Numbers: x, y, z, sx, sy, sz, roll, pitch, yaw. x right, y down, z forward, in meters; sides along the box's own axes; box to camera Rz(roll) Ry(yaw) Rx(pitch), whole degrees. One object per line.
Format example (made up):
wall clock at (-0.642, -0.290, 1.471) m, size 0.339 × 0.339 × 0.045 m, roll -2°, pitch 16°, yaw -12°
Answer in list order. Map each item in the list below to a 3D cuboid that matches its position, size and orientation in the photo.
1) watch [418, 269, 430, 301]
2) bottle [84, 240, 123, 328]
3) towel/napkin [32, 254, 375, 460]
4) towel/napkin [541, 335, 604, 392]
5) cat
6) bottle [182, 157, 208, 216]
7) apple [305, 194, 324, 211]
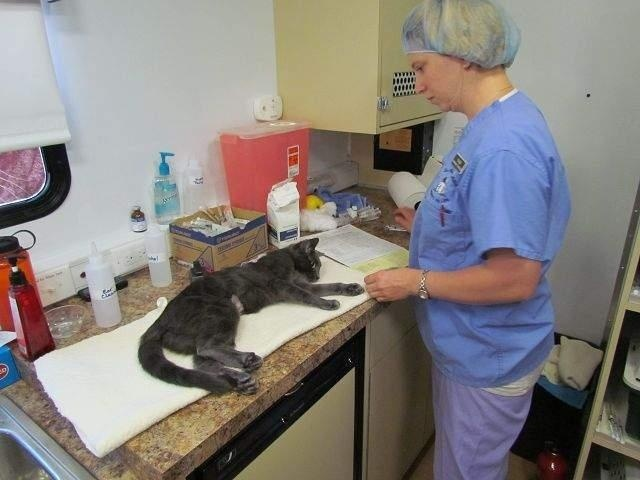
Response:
watch at (0.322, 0.145, 1.459) m, size 0.044 × 0.079 × 0.074 m, roll 0°, pitch 51°, yaw 11°
bottle at (-0.706, 0.143, 1.512) m, size 0.081 × 0.292 × 0.083 m, roll 0°, pitch 23°, yaw 0°
towel/napkin at (-0.370, 0.311, 1.471) m, size 0.872 × 0.138 × 0.452 m, roll -19°, pitch 25°, yaw -38°
towel/napkin at (1.165, 0.562, 2.153) m, size 0.243 × 0.089 × 0.270 m, roll 20°, pitch 66°, yaw 38°
cat at (-0.249, 0.224, 1.462) m, size 0.480 × 0.135 × 0.416 m, roll -13°, pitch 23°, yaw -28°
bottle at (-0.526, -0.227, 1.984) m, size 0.130 × 0.228 × 0.101 m, roll -16°, pitch 23°, yaw -34°
apple at (-0.025, -0.179, 2.357) m, size 0.076 × 0.097 × 0.078 m, roll -15°, pitch 41°, yaw -13°
